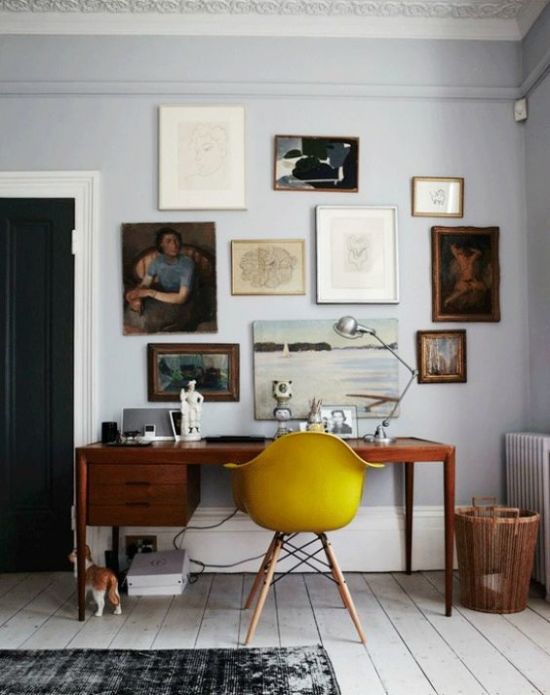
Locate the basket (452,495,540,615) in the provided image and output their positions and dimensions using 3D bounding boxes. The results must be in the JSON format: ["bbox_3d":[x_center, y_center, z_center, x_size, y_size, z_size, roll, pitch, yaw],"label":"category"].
[{"bbox_3d":[0.879,0.895,2.868,0.421,0.462,0.412,4,-10,-19],"label":"basket"}]

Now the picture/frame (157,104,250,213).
[{"bbox_3d":[-0.376,-0.953,3.317,0.558,0.610,0.028,0,-3,-2],"label":"picture/frame"}]

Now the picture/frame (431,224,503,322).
[{"bbox_3d":[0.977,-0.370,3.353,0.499,0.636,0.058,0,-2,-4],"label":"picture/frame"}]

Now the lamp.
[{"bbox_3d":[0.477,0.147,3.136,0.400,0.587,0.511,0,0,12],"label":"lamp"}]

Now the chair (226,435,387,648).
[{"bbox_3d":[0.097,0.720,2.660,0.763,0.971,0.746,0,-9,-1],"label":"chair"}]

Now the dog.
[{"bbox_3d":[-0.746,0.991,2.794,0.197,0.258,0.292,-1,0,-37],"label":"dog"}]

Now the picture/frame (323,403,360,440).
[{"bbox_3d":[0.311,0.354,3.072,0.149,0.147,0.011,-5,-1,-7],"label":"picture/frame"}]

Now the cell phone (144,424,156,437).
[{"bbox_3d":[-0.604,0.402,3.150,0.061,0.080,0.008,-1,-17,0],"label":"cell phone"}]

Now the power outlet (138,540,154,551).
[{"bbox_3d":[-0.630,0.976,3.198,0.061,0.054,0.014,1,-6,-6],"label":"power outlet"}]

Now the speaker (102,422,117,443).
[{"bbox_3d":[-0.775,0.390,3.019,0.086,0.096,0.086,7,-11,-34],"label":"speaker"}]

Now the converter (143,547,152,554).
[{"bbox_3d":[-0.629,0.998,3.197,0.032,0.029,0.008,3,-28,2],"label":"converter"}]

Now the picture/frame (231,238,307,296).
[{"bbox_3d":[-0.042,-0.402,3.308,0.289,0.209,0.010,0,-2,-2],"label":"picture/frame"}]

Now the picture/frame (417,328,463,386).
[{"bbox_3d":[0.837,0.056,3.322,0.287,0.297,0.023,0,-3,-3],"label":"picture/frame"}]

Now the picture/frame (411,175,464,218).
[{"bbox_3d":[0.836,-0.775,3.365,0.219,0.177,0.016,0,-3,-3],"label":"picture/frame"}]
